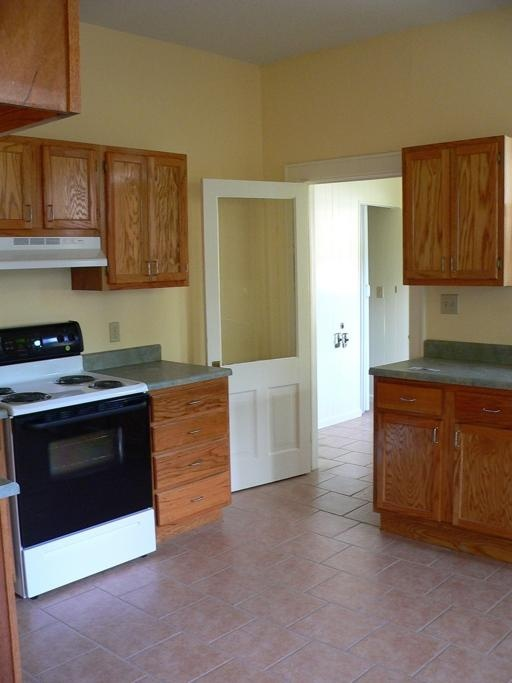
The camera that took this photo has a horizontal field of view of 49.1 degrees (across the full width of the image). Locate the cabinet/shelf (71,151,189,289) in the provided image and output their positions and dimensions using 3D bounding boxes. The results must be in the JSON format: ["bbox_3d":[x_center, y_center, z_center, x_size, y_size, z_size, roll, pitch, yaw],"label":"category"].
[{"bbox_3d":[-0.721,-0.678,3.100,0.437,0.879,0.743,6,9,43],"label":"cabinet/shelf"}]
